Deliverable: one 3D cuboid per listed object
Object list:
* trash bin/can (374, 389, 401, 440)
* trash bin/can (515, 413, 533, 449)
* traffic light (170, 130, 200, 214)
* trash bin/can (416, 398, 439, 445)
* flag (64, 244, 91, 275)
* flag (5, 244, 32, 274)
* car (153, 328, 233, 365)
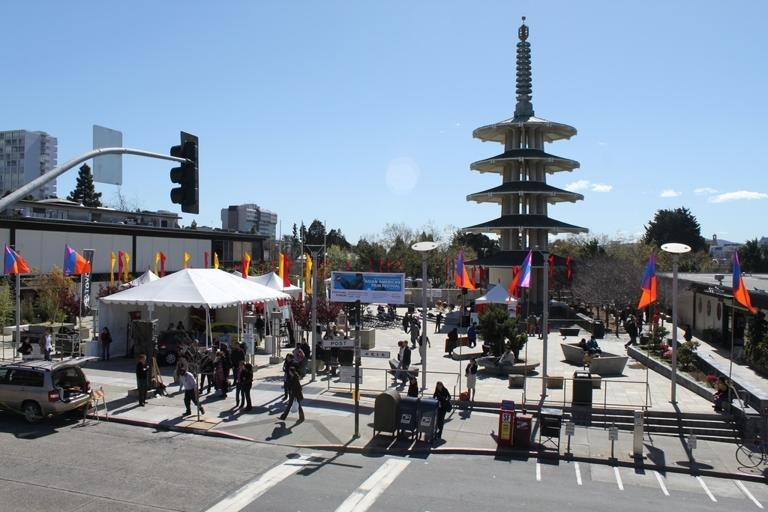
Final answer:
[{"bbox_3d":[0.110,6.570,27.304,1.083,1.846,0.525,0,10,-3],"label":"trash bin/can"},{"bbox_3d":[5.586,7.065,26.755,0.655,1.254,0.664,3,10,11],"label":"trash bin/can"},{"bbox_3d":[-6.750,-2.763,22.373,0.892,2.632,0.880,-3,11,-18],"label":"traffic light"},{"bbox_3d":[1.753,6.728,27.157,0.845,1.643,0.819,1,10,4],"label":"trash bin/can"},{"bbox_3d":[-19.632,0.312,42.216,1.303,1.736,1.832,-3,10,-22],"label":"flag"},{"bbox_3d":[-26.572,0.204,47.834,2.421,2.856,0.312,0,-3,-25],"label":"flag"},{"bbox_3d":[-10.974,5.271,37.172,2.128,1.982,3.615,0,3,41],"label":"car"}]
